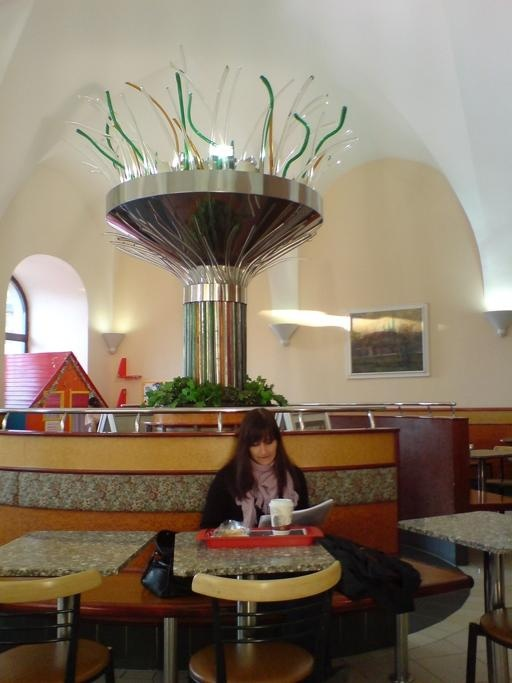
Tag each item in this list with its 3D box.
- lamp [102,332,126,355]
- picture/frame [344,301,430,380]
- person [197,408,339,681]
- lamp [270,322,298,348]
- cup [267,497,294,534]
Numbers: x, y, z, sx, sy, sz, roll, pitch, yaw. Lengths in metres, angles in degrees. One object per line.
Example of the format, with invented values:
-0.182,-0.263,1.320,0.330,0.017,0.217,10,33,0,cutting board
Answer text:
-2.765,0.028,10.939,0.411,0.331,0.406,0,-5,4,lamp
2.234,-0.014,9.307,1.362,1.203,0.102,-2,-7,31,picture/frame
-0.089,0.827,2.952,0.825,0.876,0.511,2,-10,-14,person
0.485,-0.140,9.952,0.418,0.305,0.405,0,-3,-1,lamp
0.089,0.619,2.003,0.117,0.119,0.114,0,-10,0,cup
